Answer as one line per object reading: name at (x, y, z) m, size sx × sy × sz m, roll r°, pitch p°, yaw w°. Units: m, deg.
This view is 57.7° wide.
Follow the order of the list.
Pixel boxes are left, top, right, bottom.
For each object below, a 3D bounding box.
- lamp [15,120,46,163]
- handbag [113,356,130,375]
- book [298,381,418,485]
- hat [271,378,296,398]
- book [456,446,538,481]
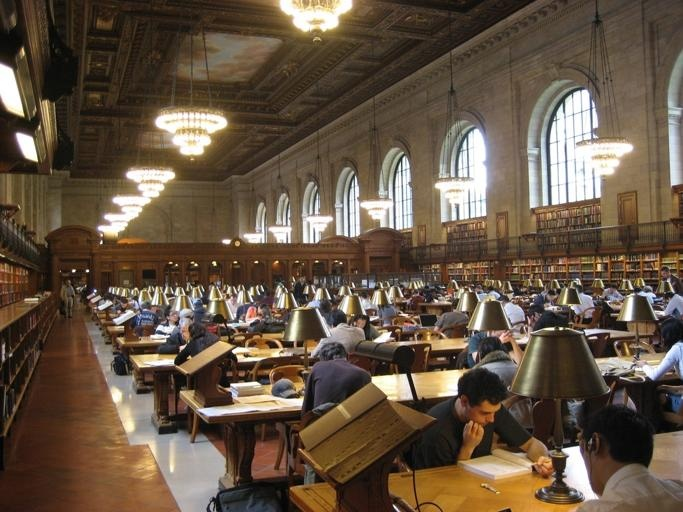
lamp at (-2.845, -1.032, 5.690) m, size 0.244 × 0.093 × 0.405 m, roll 14°, pitch -42°, yaw 10°
handbag at (-3.712, 1.843, 10.349) m, size 0.242 × 0.338 × 0.308 m, roll 0°, pitch -25°, yaw -36°
book at (0.087, 0.855, 2.750) m, size 0.415 × 0.170 × 0.450 m, roll -34°, pitch 35°, yaw -10°
hat at (-0.490, 1.138, 5.321) m, size 0.204 × 0.127 × 0.327 m, roll -1°, pitch -4°, yaw -21°
book at (0.913, 1.208, 3.580) m, size 0.384 × 0.081 × 0.311 m, roll 1°, pitch -5°, yaw -37°
